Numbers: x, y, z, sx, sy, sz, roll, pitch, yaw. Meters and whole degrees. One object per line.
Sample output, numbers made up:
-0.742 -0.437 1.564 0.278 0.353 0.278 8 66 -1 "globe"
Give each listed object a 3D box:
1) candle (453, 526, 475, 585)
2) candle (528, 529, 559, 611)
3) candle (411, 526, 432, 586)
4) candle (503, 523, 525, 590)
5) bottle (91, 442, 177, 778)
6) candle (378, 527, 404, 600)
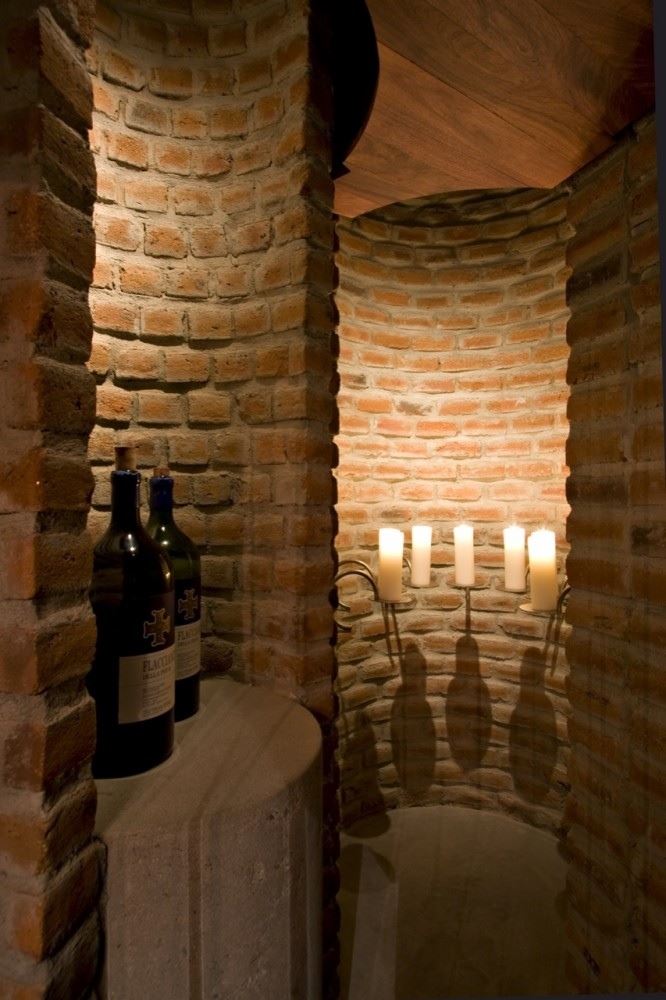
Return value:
0.346 0.150 2.032 0.043 0.162 0.091 1 12 2 "candle"
0.484 0.155 1.788 0.060 0.174 0.138 3 13 12 "candle"
0.242 0.155 2.106 0.065 0.167 0.061 0 21 2 "candle"
0.478 0.148 2.037 0.056 0.165 0.105 2 13 11 "candle"
-0.252 0.144 0.954 0.105 0.403 0.164 -3 13 -14 "bottle"
0.150 0.167 2.011 0.056 0.197 0.173 2 12 7 "candle"
